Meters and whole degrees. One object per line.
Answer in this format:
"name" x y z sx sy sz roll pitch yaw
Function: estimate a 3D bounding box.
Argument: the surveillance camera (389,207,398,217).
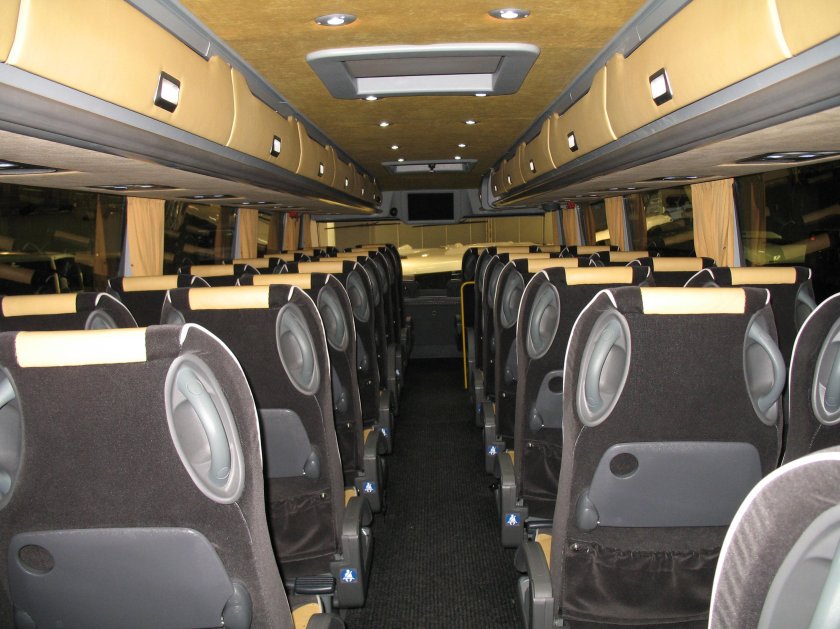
"surveillance camera" -0.625 -2.450 14.623 0.251 0.215 0.102 3 11 24
